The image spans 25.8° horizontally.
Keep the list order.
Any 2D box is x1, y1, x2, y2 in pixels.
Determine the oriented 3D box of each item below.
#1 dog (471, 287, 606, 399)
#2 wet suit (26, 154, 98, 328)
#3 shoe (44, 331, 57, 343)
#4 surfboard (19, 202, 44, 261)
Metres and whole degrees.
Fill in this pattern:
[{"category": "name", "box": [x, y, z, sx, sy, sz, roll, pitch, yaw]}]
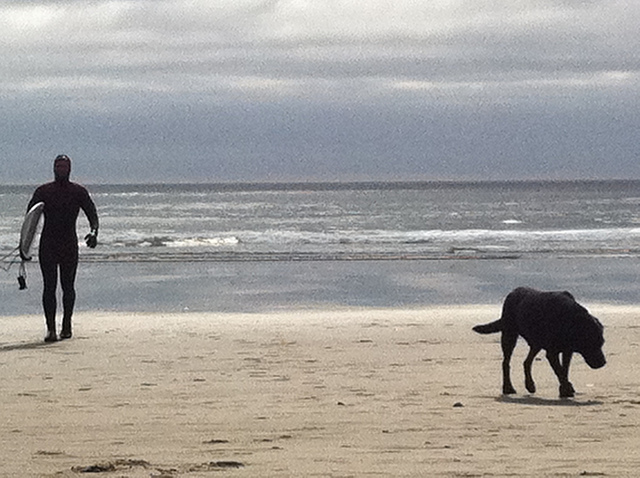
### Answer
[{"category": "dog", "box": [2.832, 1.335, 17.860, 0.716, 1.371, 2.450, 1, 0, -32]}, {"category": "wet suit", "box": [-3.650, -0.001, 20.016, 0.933, 2.528, 0.520, -3, 2, -7]}, {"category": "shoe", "box": [-3.782, 1.388, 19.851, 0.202, 0.154, 0.128, 3, -3, 3]}, {"category": "surfboard", "box": [-4.088, -0.161, 19.840, 0.254, 0.832, 0.396, -1, 3, 26]}]
